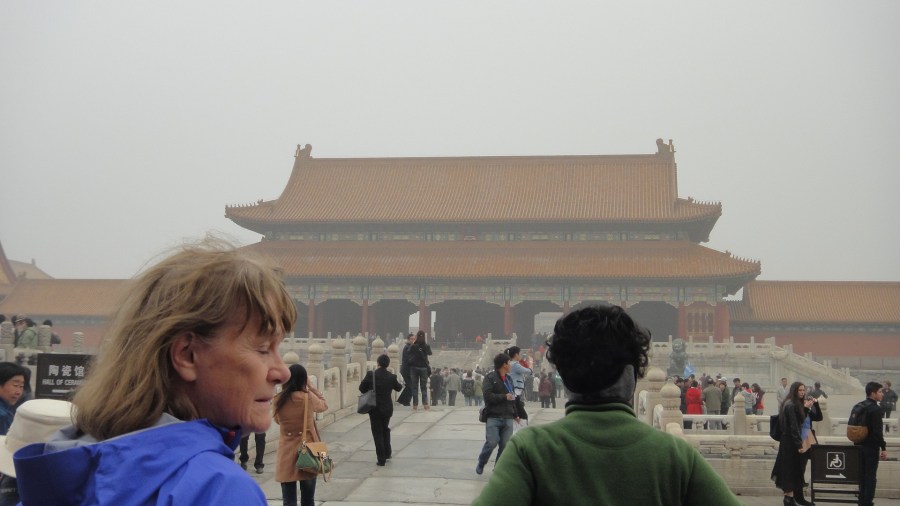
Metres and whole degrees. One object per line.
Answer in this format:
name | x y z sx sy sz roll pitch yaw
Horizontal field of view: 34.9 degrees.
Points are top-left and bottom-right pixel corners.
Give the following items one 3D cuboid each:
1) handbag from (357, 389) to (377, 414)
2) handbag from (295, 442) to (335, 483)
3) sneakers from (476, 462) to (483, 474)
handbag | -2.590 4.664 45.214 0.557 0.706 0.285 3 -11 -5
handbag | -4.279 6.151 42.945 0.750 0.863 1.241 -7 -14 -4
sneakers | 0.915 6.735 44.670 0.163 0.372 0.279 5 -5 -12
